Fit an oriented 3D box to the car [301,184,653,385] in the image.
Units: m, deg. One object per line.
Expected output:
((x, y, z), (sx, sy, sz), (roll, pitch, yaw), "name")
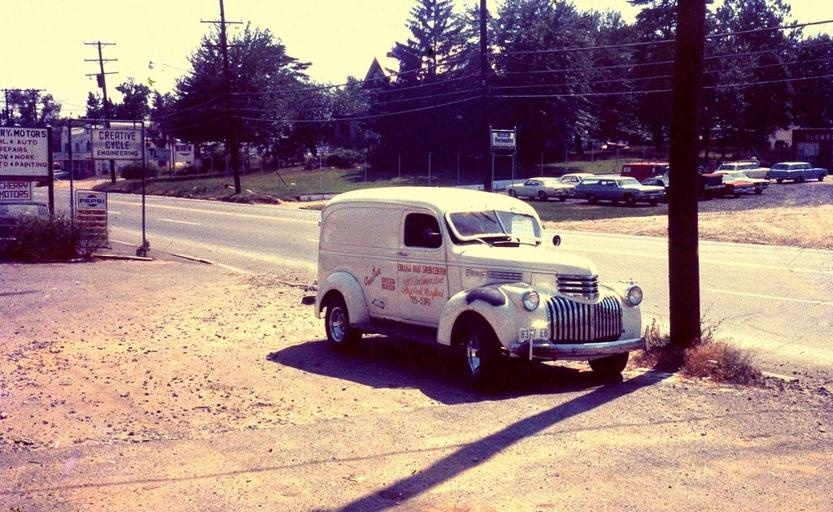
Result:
((0.632, 0.392, 13.356), (3.117, 2.600, 5.749), (-2, 3, -41), "car")

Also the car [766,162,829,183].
((31.698, -7.012, 59.867), (3.938, 1.593, 1.815), (-2, 11, -5), "car")
